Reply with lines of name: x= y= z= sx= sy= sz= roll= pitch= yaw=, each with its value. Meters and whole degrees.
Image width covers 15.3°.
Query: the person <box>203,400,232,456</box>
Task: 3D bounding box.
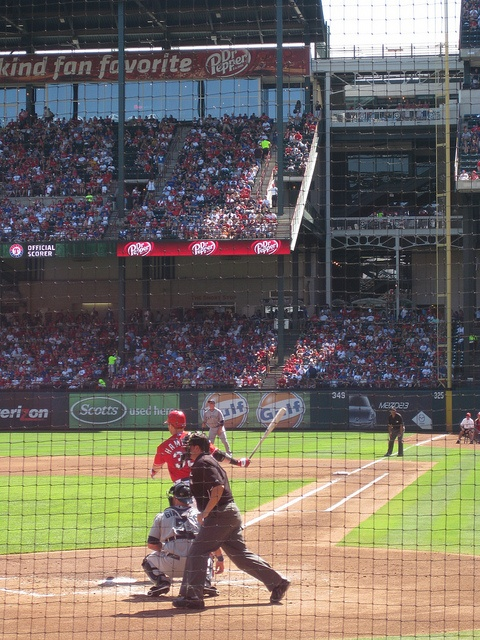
person: x=-0.702 y=2.839 z=47.189 sx=0.607 sy=1.774 sz=0.498 roll=-14 pitch=23 yaw=-13
